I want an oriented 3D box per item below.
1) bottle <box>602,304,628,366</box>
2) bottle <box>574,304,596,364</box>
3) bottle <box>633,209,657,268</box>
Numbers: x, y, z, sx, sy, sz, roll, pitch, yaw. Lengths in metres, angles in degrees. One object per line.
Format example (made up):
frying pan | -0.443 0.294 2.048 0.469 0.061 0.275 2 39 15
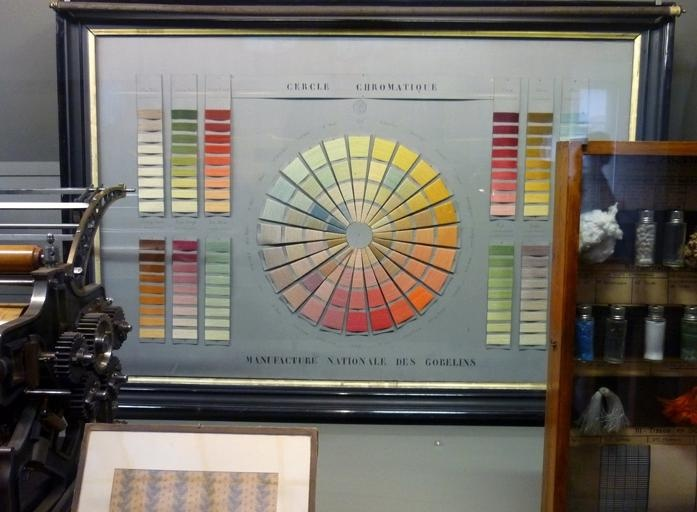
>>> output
bottle | 0.873 0.254 2.929 0.082 0.192 0.036 4 -9 -20
bottle | 0.767 0.249 2.910 0.072 0.179 0.030 4 -9 -22
bottle | 0.969 -0.058 2.924 0.071 0.179 0.042 0 -9 2
